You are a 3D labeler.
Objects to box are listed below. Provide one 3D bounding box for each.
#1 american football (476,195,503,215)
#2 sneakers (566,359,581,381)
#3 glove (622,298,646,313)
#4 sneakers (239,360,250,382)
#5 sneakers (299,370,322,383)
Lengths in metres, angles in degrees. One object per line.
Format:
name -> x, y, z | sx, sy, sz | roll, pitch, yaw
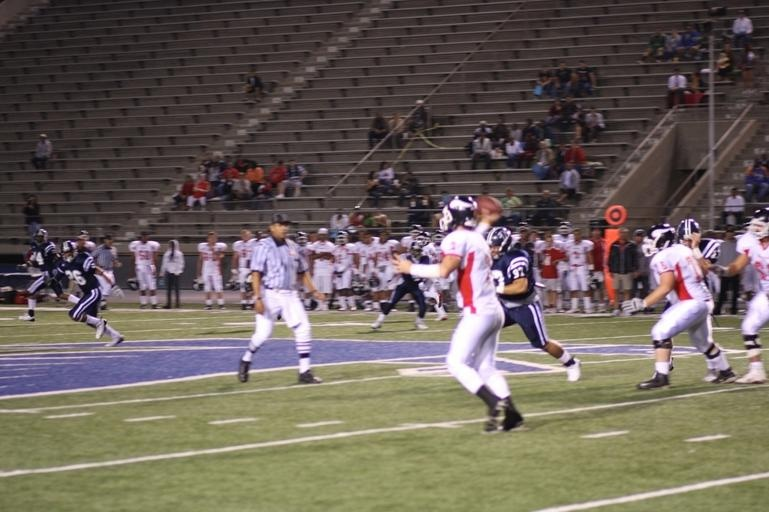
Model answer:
american football -> 1.501, -0.731, 15.214 | 0.328, 0.237, 0.237 | 1, 14, 8
sneakers -> 3.108, 1.854, 17.264 | 0.263, 0.377, 0.182 | 5, 4, -16
glove -> 4.044, 0.802, 17.137 | 0.409, 0.226, 0.142 | -5, -44, 34
sneakers -> -2.338, 1.916, 17.736 | 0.196, 0.404, 0.212 | -8, 17, -18
sneakers -> -1.252, 2.008, 17.648 | 0.484, 0.124, 0.186 | 0, 2, 3
